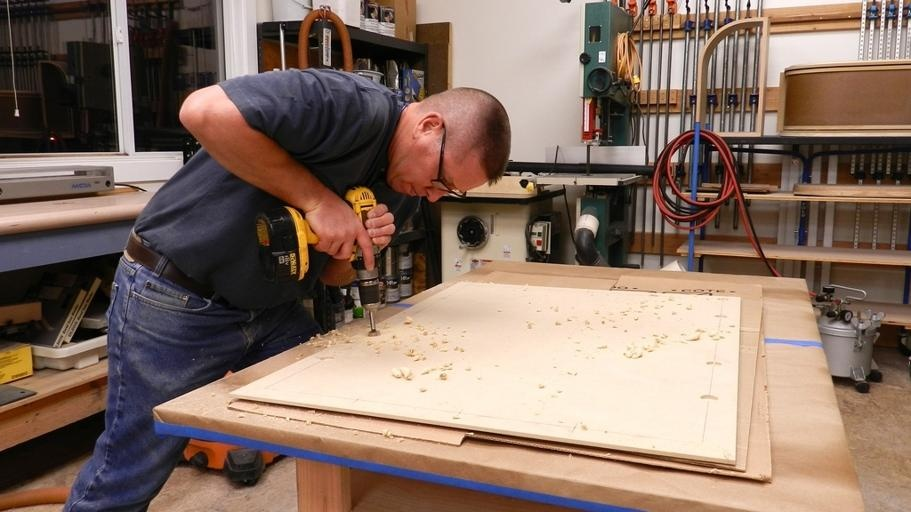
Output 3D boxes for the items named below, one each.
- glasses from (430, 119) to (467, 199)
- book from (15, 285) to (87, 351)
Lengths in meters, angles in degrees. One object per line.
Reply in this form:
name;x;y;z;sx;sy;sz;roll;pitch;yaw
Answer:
glasses;-0.028;-0.410;2.661;0.122;0.290;0.115;1;-3;18
book;-2.359;0.389;3.750;0.356;0.362;0.086;-1;-33;26
